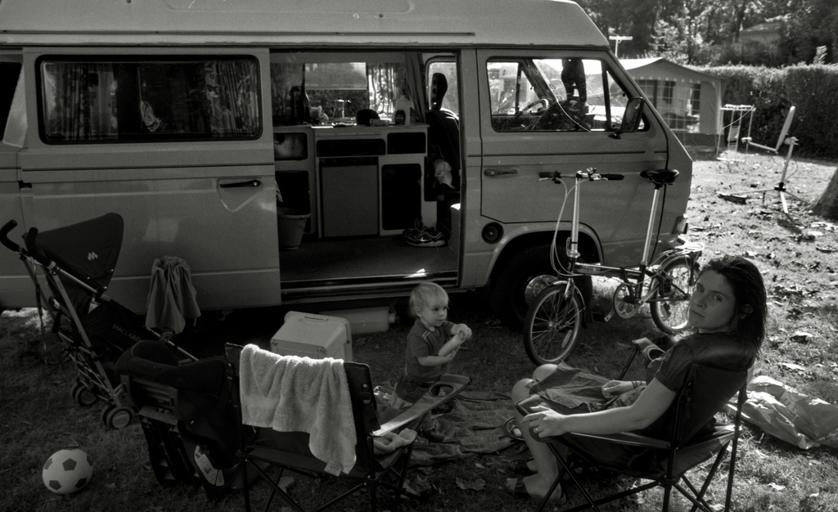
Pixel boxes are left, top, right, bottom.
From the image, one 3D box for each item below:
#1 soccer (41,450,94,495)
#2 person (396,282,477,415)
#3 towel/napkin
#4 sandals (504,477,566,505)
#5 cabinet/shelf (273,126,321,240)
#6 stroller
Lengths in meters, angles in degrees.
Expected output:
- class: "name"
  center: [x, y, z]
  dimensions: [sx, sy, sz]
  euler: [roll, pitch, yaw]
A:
- class: "soccer"
  center: [-3.093, 1.870, 5.725]
  dimensions: [0.397, 0.346, 0.296]
  euler: [-13, 18, -32]
- class: "person"
  center: [0.154, 0.930, 6.416]
  dimensions: [0.786, 1.491, 0.618]
  euler: [3, 31, 12]
- class: "towel/napkin"
  center: [-0.916, 1.145, 4.936]
  dimensions: [0.938, 0.832, 0.298]
  euler: [4, 1, 16]
- class: "sandals"
  center: [0.994, 2.011, 5.606]
  dimensions: [0.492, 0.151, 0.257]
  euler: [3, -7, -19]
- class: "cabinet/shelf"
  center: [-1.795, -1.089, 9.192]
  dimensions: [0.835, 1.292, 0.980]
  euler: [-4, 8, -16]
- class: "stroller"
  center: [-3.191, 0.602, 6.323]
  dimensions: [1.025, 2.041, 0.768]
  euler: [-10, 16, -25]
